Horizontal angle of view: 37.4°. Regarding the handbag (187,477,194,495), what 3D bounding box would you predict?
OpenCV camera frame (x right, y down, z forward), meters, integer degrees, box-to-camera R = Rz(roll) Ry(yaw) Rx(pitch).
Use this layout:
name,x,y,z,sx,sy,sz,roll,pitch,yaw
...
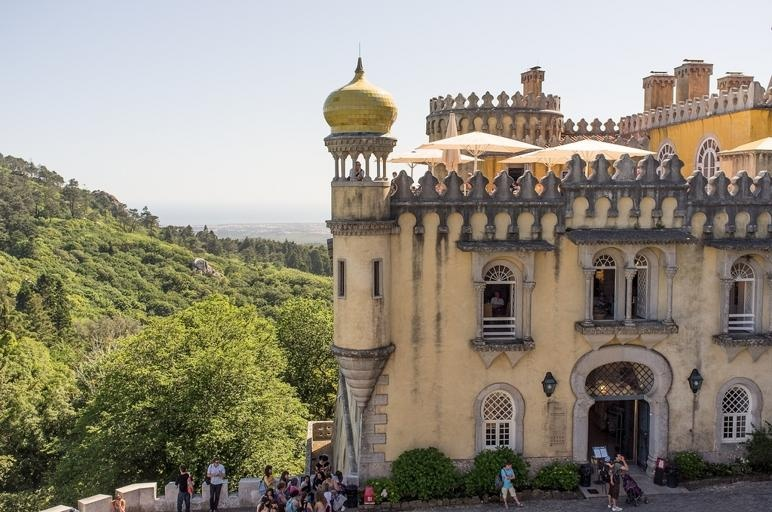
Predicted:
name,x,y,z,sx,sy,sz,roll,pitch,yaw
handbag,-11.960,14.225,70.026,0.242,1.107,0.578,0,-5,2

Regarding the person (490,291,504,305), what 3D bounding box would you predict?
name,x,y,z,sx,sy,sz,roll,pitch,yaw
person,6.919,2.676,71.522,0.836,0.903,0.221,-1,-5,9

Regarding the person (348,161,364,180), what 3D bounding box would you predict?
name,x,y,z,sx,sy,sz,roll,pitch,yaw
person,-1.771,-5.201,70.008,0.952,1.265,0.629,-2,-6,23

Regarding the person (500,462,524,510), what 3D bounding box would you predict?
name,x,y,z,sx,sy,sz,roll,pitch,yaw
person,7.555,14.146,69.909,1.178,2.762,0.758,3,-6,-29

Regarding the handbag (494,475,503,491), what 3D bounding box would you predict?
name,x,y,z,sx,sy,sz,roll,pitch,yaw
handbag,7.008,13.982,69.901,0.594,1.139,0.796,2,-2,-9

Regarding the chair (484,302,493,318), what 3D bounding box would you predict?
name,x,y,z,sx,sy,sz,roll,pitch,yaw
chair,6.370,3.406,71.404,0.575,0.866,0.443,0,-5,-3

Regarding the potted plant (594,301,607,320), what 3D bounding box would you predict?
name,x,y,z,sx,sy,sz,roll,pitch,yaw
potted plant,13.573,3.524,72.468,0.898,1.068,1.212,-1,-6,10

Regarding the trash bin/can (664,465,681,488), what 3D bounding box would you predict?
name,x,y,z,sx,sy,sz,roll,pitch,yaw
trash bin/can,17.724,13.761,70.819,1.134,1.419,1.143,-3,5,-21
